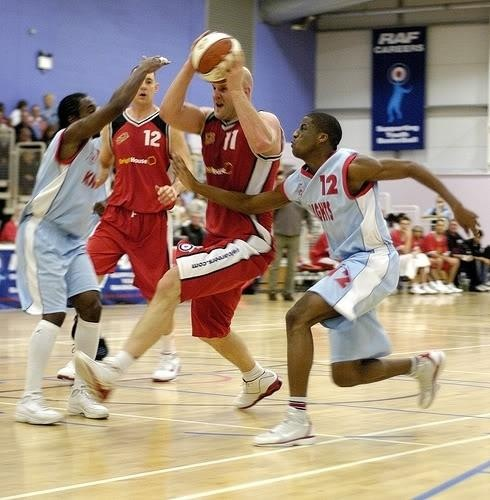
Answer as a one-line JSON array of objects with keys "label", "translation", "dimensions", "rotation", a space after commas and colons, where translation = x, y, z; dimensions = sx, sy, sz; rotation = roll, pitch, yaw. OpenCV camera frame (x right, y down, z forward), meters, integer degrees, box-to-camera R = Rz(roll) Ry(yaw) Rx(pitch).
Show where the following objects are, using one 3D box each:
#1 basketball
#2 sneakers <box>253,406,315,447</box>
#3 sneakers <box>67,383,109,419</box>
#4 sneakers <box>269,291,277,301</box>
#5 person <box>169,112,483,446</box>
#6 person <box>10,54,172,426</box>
[{"label": "basketball", "translation": [-0.148, -0.978, 2.526], "dimensions": [0.251, 0.291, 0.223], "rotation": [3, 2, -2]}, {"label": "sneakers", "translation": [0.157, 0.744, 2.120], "dimensions": [0.297, 0.132, 0.089], "rotation": [6, -9, -30]}, {"label": "sneakers", "translation": [-0.842, 0.822, 2.738], "dimensions": [0.335, 0.121, 0.115], "rotation": [-3, -7, 40]}, {"label": "sneakers", "translation": [0.609, 1.051, 11.342], "dimensions": [0.217, 0.178, 0.185], "rotation": [1, -2, -1]}, {"label": "person", "translation": [0.452, 0.087, 2.382], "dimensions": [1.339, 1.513, 0.702], "rotation": [2, 2, -5]}, {"label": "person", "translation": [-0.880, -0.072, 2.641], "dimensions": [0.541, 1.865, 0.578], "rotation": [2, 2, -34]}]
